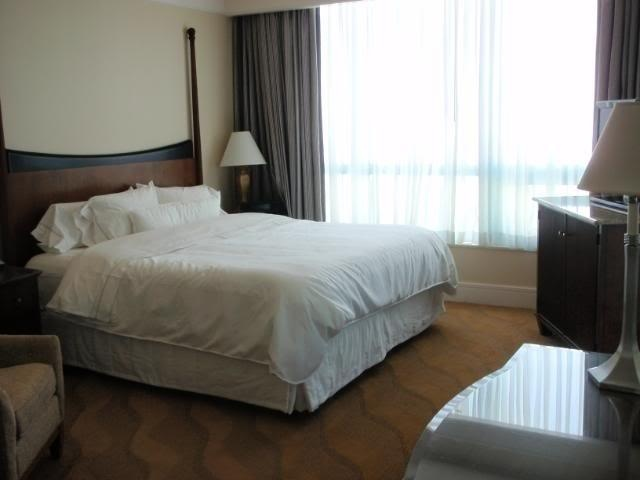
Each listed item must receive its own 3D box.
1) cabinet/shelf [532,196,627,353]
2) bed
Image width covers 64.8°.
[{"bbox_3d":[1.787,0.220,3.418,0.329,0.956,0.950,0,9,10],"label":"cabinet/shelf"},{"bbox_3d":[-0.495,0.028,3.857,1.981,2.378,2.216,3,11,28],"label":"bed"}]
